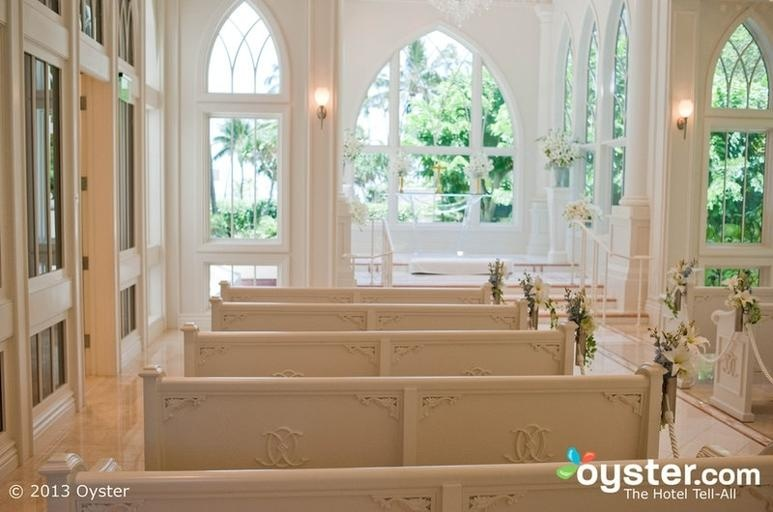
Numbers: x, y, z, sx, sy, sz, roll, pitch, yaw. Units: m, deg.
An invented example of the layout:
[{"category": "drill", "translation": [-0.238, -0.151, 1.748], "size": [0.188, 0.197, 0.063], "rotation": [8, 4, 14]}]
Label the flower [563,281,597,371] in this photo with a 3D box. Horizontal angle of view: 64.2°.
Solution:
[{"category": "flower", "translation": [1.505, 0.616, 4.806], "size": [0.248, 0.669, 0.613], "rotation": [5, 14, 18]}]

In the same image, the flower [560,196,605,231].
[{"category": "flower", "translation": [3.240, -0.611, 10.149], "size": [0.656, 0.674, 0.638], "rotation": [-4, 17, 19]}]

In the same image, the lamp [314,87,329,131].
[{"category": "lamp", "translation": [-0.878, -2.005, 8.319], "size": [0.204, 0.513, 0.202], "rotation": [-3, 16, -19]}]

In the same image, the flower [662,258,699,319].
[{"category": "flower", "translation": [3.161, 0.339, 6.637], "size": [0.263, 0.669, 0.505], "rotation": [8, 15, 27]}]

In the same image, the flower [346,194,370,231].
[{"category": "flower", "translation": [-0.481, -0.758, 10.086], "size": [0.453, 0.501, 0.518], "rotation": [-10, -33, -11]}]

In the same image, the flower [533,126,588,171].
[{"category": "flower", "translation": [3.276, -2.058, 11.725], "size": [0.691, 0.762, 1.099], "rotation": [-2, 14, -10]}]

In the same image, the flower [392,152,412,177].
[{"category": "flower", "translation": [0.320, -1.825, 12.250], "size": [0.452, 0.503, 0.453], "rotation": [7, 7, 6]}]

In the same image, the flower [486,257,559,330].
[{"category": "flower", "translation": [1.381, 0.328, 5.711], "size": [0.604, 0.610, 1.102], "rotation": [2, -2, -12]}]

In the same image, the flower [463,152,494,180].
[{"category": "flower", "translation": [1.822, -1.810, 12.283], "size": [0.489, 0.504, 0.496], "rotation": [-2, 2, -13]}]

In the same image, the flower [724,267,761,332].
[{"category": "flower", "translation": [3.488, 0.428, 6.016], "size": [0.309, 0.635, 0.619], "rotation": [9, 16, 32]}]

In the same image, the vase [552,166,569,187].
[{"category": "vase", "translation": [3.299, -1.512, 11.571], "size": [0.337, 0.390, 0.343], "rotation": [-1, 1, 0]}]

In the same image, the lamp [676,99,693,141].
[{"category": "lamp", "translation": [4.228, -1.936, 8.717], "size": [0.211, 0.500, 0.211], "rotation": [-2, 8, 5]}]
